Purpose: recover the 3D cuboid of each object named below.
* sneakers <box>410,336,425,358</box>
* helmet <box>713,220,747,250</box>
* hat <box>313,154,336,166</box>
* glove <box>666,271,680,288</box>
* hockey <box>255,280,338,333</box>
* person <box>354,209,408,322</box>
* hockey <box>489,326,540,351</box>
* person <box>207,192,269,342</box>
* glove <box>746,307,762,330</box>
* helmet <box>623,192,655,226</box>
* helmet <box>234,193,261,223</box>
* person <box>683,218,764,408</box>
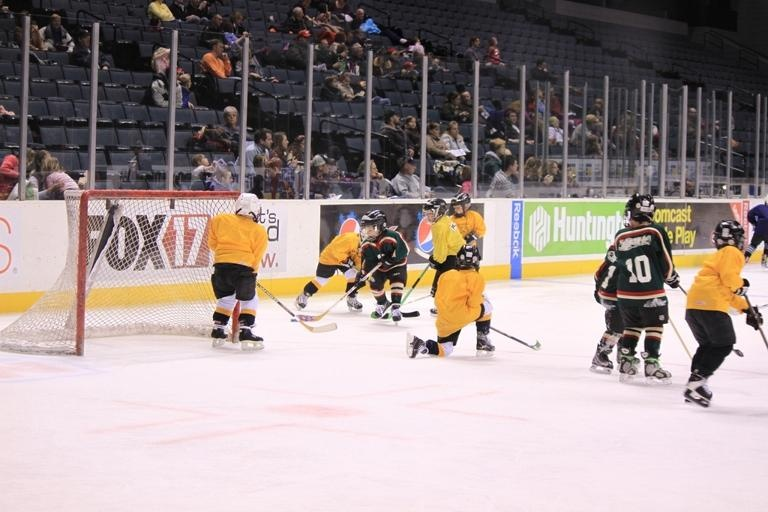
[{"bbox_3d":[0.324,0.879,8.950,0.079,0.223,0.172,13,16,43],"label":"sneakers"},{"bbox_3d":[2.982,-0.189,7.996,0.278,0.231,0.222,0,3,29],"label":"helmet"},{"bbox_3d":[-0.800,-1.285,12.410,0.346,0.163,0.045,-7,15,-36],"label":"hat"},{"bbox_3d":[2.615,0.220,8.334,0.171,0.165,0.071,5,2,38],"label":"glove"},{"bbox_3d":[-1.071,0.615,11.047,0.819,0.172,0.121,33,-29,4],"label":"hockey"},{"bbox_3d":[-0.024,0.123,10.771,0.565,1.276,0.477,4,12,9],"label":"person"},{"bbox_3d":[1.378,0.882,9.790,0.733,0.159,0.117,17,-5,-37],"label":"hockey"},{"bbox_3d":[-1.456,0.224,9.268,0.617,1.304,0.600,3,12,6],"label":"person"},{"bbox_3d":[3.195,0.536,7.986,0.162,0.200,0.076,-2,3,9],"label":"glove"},{"bbox_3d":[2.377,-0.439,8.407,0.257,0.282,0.295,6,-6,-6],"label":"helmet"},{"bbox_3d":[-1.312,-0.490,9.322,0.244,0.271,0.303,7,14,2],"label":"helmet"},{"bbox_3d":[2.807,0.469,7.803,0.561,1.459,0.819,10,15,35],"label":"person"}]
